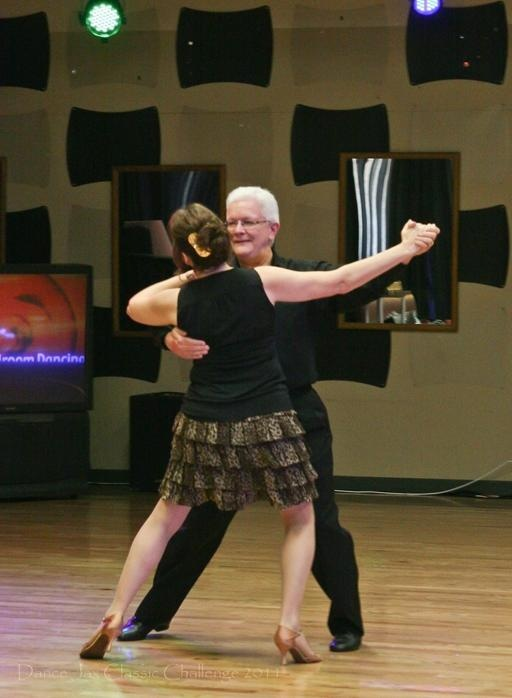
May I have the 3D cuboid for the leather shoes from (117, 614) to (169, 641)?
[{"bbox_3d":[-0.306,0.882,2.432,0.234,0.082,0.079,6,-24,-26],"label":"leather shoes"}]

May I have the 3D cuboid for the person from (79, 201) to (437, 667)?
[{"bbox_3d":[-0.020,0.251,2.069,0.828,1.253,0.332,2,-2,-9],"label":"person"}]
